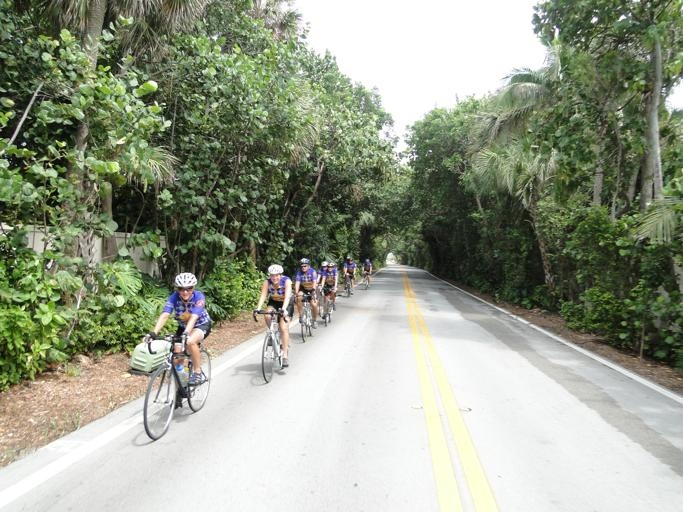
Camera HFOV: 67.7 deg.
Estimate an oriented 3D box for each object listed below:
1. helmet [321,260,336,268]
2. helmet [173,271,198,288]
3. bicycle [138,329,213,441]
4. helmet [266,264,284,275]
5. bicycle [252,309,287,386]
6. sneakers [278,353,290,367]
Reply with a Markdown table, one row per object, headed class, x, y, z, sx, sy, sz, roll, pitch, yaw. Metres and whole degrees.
| class | x | y | z | sx | sy | sz | roll | pitch | yaw |
| --- | --- | --- | --- | --- | --- | --- | --- | --- | --- |
| helmet | -0.437 | 0.263 | 16.649 | 0.294 | 0.147 | 0.429 | 0 | -5 | 2 |
| helmet | -2.539 | 0.403 | 8.265 | 0.298 | 0.239 | 0.169 | 3 | -3 | -25 |
| bicycle | -2.648 | 1.968 | 7.931 | 0.479 | 1.472 | 1.421 | 1 | -3 | 26 |
| helmet | -1.364 | 0.280 | 10.520 | 0.273 | 0.207 | 0.486 | 2 | -3 | -12 |
| bicycle | -1.385 | 1.663 | 9.689 | 0.475 | 1.308 | 1.054 | 2 | -2 | 2 |
| sneakers | -1.156 | 2.056 | 10.018 | 0.176 | 0.184 | 0.430 | 0 | -23 | -6 |
